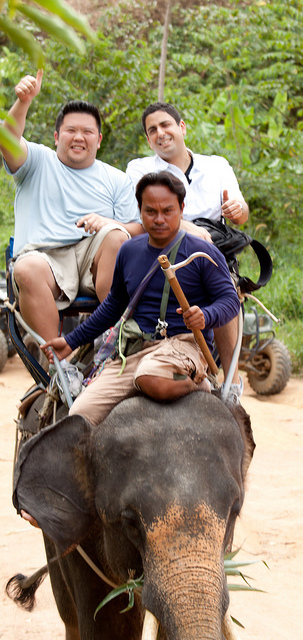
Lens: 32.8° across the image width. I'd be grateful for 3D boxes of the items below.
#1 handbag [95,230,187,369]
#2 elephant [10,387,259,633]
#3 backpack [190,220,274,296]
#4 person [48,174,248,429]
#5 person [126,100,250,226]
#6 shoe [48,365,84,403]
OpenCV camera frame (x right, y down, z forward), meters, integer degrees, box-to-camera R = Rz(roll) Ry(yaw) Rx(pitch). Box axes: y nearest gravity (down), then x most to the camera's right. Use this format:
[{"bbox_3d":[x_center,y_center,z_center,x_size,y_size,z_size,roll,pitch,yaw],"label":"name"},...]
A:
[{"bbox_3d":[-0.059,0.002,1.690,0.045,0.597,0.188,20,7,-42],"label":"handbag"},{"bbox_3d":[-0.089,0.586,1.500,0.539,0.668,0.998,1,-13,-15],"label":"elephant"},{"bbox_3d":[0.339,-0.372,2.467,0.403,0.180,0.270,22,30,8],"label":"backpack"},{"bbox_3d":[0.003,-0.052,1.656,0.533,0.828,0.407,0,-2,36],"label":"person"},{"bbox_3d":[0.163,-0.709,2.596,0.564,0.827,0.491,-6,13,9],"label":"person"},{"bbox_3d":[-0.307,0.219,1.877,0.097,0.149,0.049,4,14,37],"label":"shoe"}]
